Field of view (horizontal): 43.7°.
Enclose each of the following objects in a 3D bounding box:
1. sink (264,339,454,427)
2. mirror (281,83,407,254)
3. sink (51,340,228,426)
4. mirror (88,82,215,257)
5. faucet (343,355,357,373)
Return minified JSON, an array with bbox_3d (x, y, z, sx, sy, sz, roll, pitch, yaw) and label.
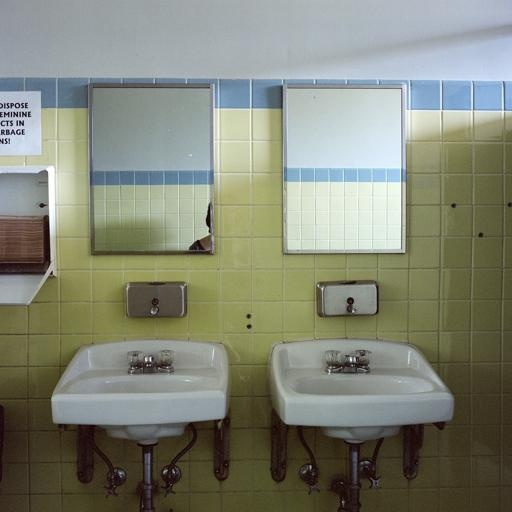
[{"bbox_3d":[0.390,0.510,2.530,0.666,0.262,0.460,-4,7,-1],"label":"sink"},{"bbox_3d":[0.355,-0.396,2.706,0.626,0.934,0.039,0,-1,-3],"label":"mirror"},{"bbox_3d":[-0.427,0.516,2.496,0.646,0.273,0.430,-4,7,-2],"label":"sink"},{"bbox_3d":[-0.441,-0.347,2.692,0.517,0.750,0.028,-2,22,-15],"label":"mirror"},{"bbox_3d":[0.390,0.447,2.638,0.055,0.091,0.059,0,-1,2],"label":"faucet"}]
